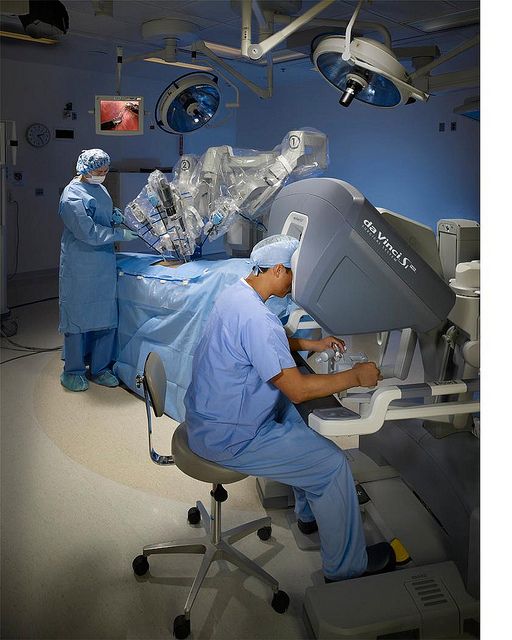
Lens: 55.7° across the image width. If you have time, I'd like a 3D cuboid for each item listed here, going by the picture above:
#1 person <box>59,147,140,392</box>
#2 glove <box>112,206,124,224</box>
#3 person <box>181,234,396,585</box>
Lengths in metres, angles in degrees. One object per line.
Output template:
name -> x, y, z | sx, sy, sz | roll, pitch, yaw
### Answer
person -> -1.004, -0.286, 3.008 | 0.491, 1.443, 0.417 | -7, 15, -29
glove -> -0.891, -0.664, 3.107 | 0.042, 0.112, 0.087 | 2, 2, -27
person -> 0.102, 0.103, 1.889 | 0.879, 1.431, 0.724 | -7, 20, -12
